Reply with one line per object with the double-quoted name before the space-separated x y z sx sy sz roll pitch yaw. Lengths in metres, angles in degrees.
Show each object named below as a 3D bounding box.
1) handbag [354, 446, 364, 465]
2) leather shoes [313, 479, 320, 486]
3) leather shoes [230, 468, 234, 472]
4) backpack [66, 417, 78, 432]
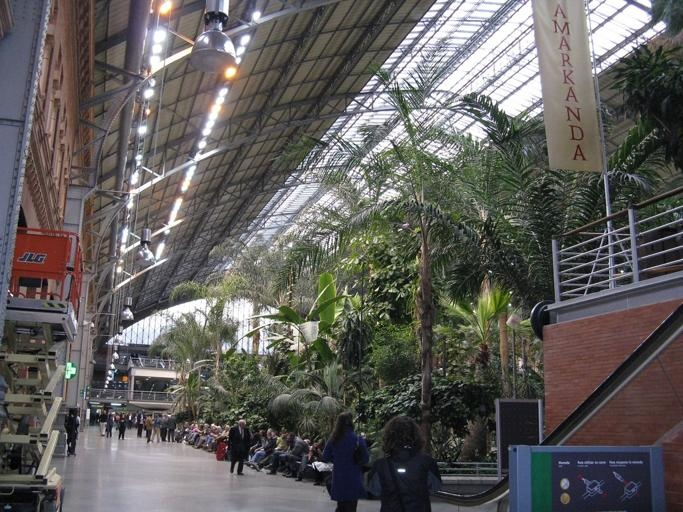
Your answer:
"handbag" 0.201 2.292 6.529 0.131 0.259 0.174 -4 8 3
"leather shoes" -0.635 5.582 13.928 0.239 0.163 0.081 -6 -19 37
"leather shoes" -3.140 6.118 16.093 0.089 0.037 0.130 3 9 -8
"backpack" -9.398 5.796 19.581 0.288 0.522 0.534 11 -20 -23
